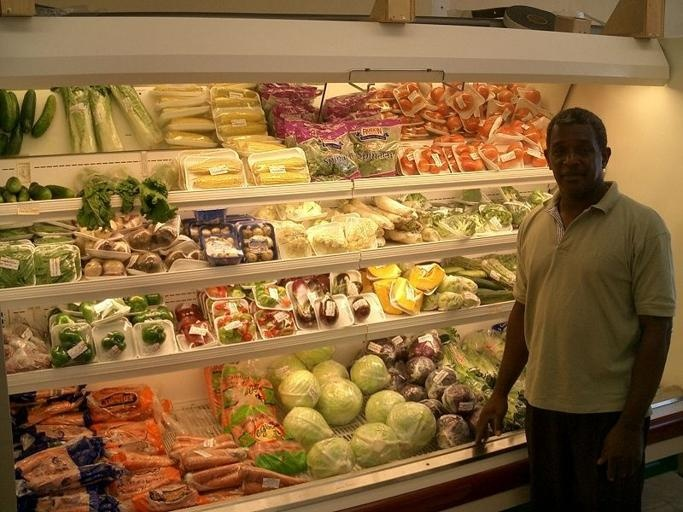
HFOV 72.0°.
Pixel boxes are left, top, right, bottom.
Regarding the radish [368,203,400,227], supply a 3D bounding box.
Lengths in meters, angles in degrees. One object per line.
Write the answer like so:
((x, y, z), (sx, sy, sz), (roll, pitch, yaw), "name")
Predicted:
((0.278, -0.286, 3.076), (0.119, 0.050, 0.209), (-11, 35, -37), "radish")

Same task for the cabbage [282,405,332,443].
((-0.209, 0.980, 2.809), (0.250, 0.166, 0.240), (-11, 21, -30), "cabbage")

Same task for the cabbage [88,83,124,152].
((-1.412, -0.801, 2.788), (0.125, 0.406, 0.222), (-12, 21, -32), "cabbage")

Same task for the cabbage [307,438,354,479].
((-0.055, 1.103, 2.555), (0.216, 0.187, 0.173), (-9, -18, 2), "cabbage")

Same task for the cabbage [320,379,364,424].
((-0.002, 0.907, 3.038), (0.250, 0.267, 0.255), (-12, 20, -30), "cabbage")

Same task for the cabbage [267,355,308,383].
((-0.378, 0.772, 3.187), (0.210, 0.165, 0.163), (-6, -2, -4), "cabbage")

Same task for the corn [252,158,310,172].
((-0.348, -0.523, 2.724), (0.350, 0.092, 0.103), (-3, 34, -12), "corn")

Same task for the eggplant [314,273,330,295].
((-0.121, 0.187, 3.123), (0.099, 0.110, 0.111), (5, 43, 7), "eggplant")

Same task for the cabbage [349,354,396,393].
((0.227, 0.787, 3.271), (0.218, 0.236, 0.265), (-17, 20, -33), "cabbage")

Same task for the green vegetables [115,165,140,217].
((-1.062, -0.322, 2.409), (0.177, 0.194, 0.087), (-11, -16, 33), "green vegetables")

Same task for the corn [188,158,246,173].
((-0.700, -0.498, 2.635), (0.199, 0.047, 0.121), (-3, 24, -15), "corn")

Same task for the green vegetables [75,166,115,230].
((-1.287, -0.288, 2.464), (0.211, 0.309, 0.380), (-15, 14, -27), "green vegetables")

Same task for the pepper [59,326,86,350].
((-1.360, 0.414, 2.420), (0.087, 0.121, 0.121), (7, 3, -7), "pepper")

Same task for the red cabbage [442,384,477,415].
((0.745, 0.903, 2.993), (0.159, 0.141, 0.182), (-13, -1, -10), "red cabbage")

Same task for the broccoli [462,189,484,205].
((1.000, -0.444, 3.561), (0.104, 0.134, 0.047), (5, 1, 4), "broccoli")

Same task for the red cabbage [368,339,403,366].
((0.322, 0.687, 3.368), (0.152, 0.120, 0.203), (6, 4, -22), "red cabbage")

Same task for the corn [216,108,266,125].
((-0.624, -0.863, 2.914), (0.315, 0.114, 0.069), (-7, -9, -20), "corn")

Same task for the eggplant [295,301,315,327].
((-0.215, 0.352, 2.834), (0.085, 0.048, 0.146), (-5, 50, -12), "eggplant")

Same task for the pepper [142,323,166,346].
((-1.013, 0.432, 2.540), (0.115, 0.108, 0.060), (-20, -9, -24), "pepper")

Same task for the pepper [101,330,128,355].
((-1.187, 0.459, 2.460), (0.106, 0.112, 0.063), (28, -34, -15), "pepper")

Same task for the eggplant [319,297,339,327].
((-0.085, 0.340, 2.878), (0.099, 0.165, 0.054), (14, -33, -26), "eggplant")

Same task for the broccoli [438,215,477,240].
((0.771, -0.195, 3.094), (0.192, 0.087, 0.169), (2, 31, 14), "broccoli")

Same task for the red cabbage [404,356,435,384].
((0.543, 0.788, 3.267), (0.185, 0.149, 0.144), (-29, -19, 29), "red cabbage")

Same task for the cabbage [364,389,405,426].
((0.276, 0.935, 2.980), (0.220, 0.122, 0.178), (-30, 13, -25), "cabbage")

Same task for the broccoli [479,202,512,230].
((1.089, -0.277, 3.323), (0.175, 0.099, 0.220), (4, 37, -13), "broccoli")

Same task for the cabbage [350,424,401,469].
((0.191, 1.063, 2.726), (0.227, 0.221, 0.227), (-10, 18, -19), "cabbage")

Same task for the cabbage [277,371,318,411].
((-0.269, 0.856, 2.956), (0.183, 0.186, 0.176), (13, 48, 46), "cabbage")

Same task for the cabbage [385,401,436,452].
((0.444, 1.026, 2.872), (0.296, 0.248, 0.231), (-1, -4, 20), "cabbage")

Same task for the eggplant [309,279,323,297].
((-0.162, 0.215, 3.080), (0.078, 0.106, 0.039), (-5, -24, -9), "eggplant")

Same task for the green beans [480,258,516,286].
((1.147, 0.121, 3.442), (0.143, 0.089, 0.256), (-21, 56, -39), "green beans")

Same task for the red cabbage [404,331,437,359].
((0.572, 0.659, 3.398), (0.180, 0.096, 0.241), (-6, 25, 7), "red cabbage")

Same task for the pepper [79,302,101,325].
((-1.388, 0.316, 2.590), (0.076, 0.056, 0.129), (4, 43, -30), "pepper")

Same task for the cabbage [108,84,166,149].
((-1.235, -0.846, 2.927), (0.182, 0.569, 0.169), (-22, -5, -10), "cabbage")

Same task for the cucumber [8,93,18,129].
((-1.843, -0.813, 2.640), (0.081, 0.166, 0.050), (1, -4, -40), "cucumber")

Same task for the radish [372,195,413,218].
((0.339, -0.324, 3.159), (0.100, 0.092, 0.329), (15, 7, -34), "radish")

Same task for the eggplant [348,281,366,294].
((0.090, 0.226, 3.150), (0.064, 0.033, 0.090), (-11, 23, -8), "eggplant")

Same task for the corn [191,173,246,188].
((-0.673, -0.403, 2.577), (0.211, 0.055, 0.116), (-5, 18, -9), "corn")

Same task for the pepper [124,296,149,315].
((-1.202, 0.286, 2.760), (0.139, 0.108, 0.105), (0, 0, -18), "pepper")

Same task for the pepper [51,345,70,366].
((-1.395, 0.507, 2.330), (0.080, 0.104, 0.052), (8, 6, 0), "pepper")

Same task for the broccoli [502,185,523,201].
((1.306, -0.466, 3.603), (0.150, 0.095, 0.038), (26, -35, -14), "broccoli")
